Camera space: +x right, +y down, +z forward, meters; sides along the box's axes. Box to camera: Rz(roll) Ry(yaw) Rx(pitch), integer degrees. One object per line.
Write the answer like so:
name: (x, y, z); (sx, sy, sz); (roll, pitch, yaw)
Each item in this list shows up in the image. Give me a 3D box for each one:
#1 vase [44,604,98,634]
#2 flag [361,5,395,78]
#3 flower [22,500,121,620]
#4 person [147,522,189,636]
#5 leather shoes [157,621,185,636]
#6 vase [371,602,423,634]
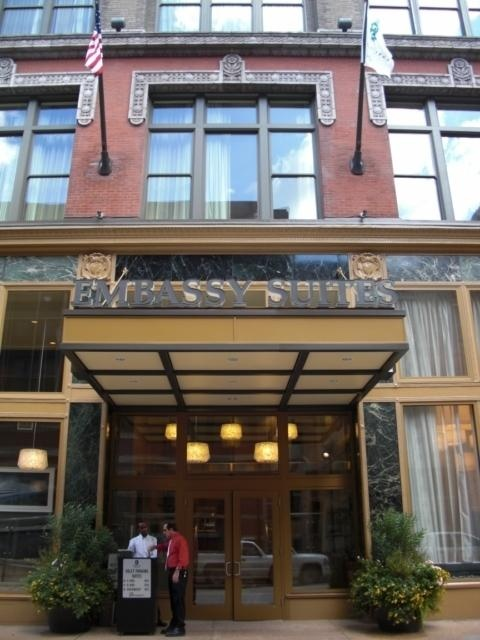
vase: (-2.625, 4.565, 8.090); (0.619, 0.390, 0.389); (5, -21, -17)
flag: (2.702, -5.684, 10.545); (0.566, 1.964, 0.407); (-1, -20, 0)
flower: (-2.620, 3.796, 8.326); (1.231, 1.685, 1.103); (2, -20, -9)
person: (-1.130, 4.144, 8.305); (0.710, 1.834, 0.858); (2, -44, -9)
leather shoes: (-0.948, 4.516, 7.697); (0.287, 0.123, 0.292); (-1, -20, 1)
vase: (2.440, 4.572, 8.054); (0.681, 0.338, 0.781); (-6, -20, 14)
